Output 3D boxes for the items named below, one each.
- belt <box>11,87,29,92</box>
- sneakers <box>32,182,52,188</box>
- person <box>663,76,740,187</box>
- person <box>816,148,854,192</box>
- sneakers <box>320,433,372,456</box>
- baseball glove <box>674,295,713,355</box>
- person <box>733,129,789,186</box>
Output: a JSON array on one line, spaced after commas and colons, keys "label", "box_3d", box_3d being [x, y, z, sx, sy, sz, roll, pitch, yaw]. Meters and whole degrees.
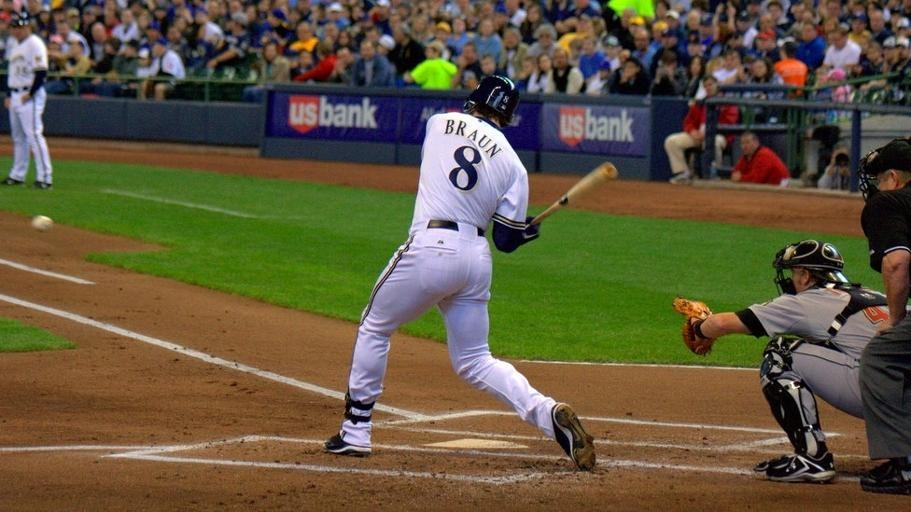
[{"label": "belt", "box_3d": [-8.096, -3.062, 24.077, 0.400, 0.116, 0.112, 4, 7, 24]}, {"label": "sneakers", "box_3d": [-7.746, -1.318, 24.435, 0.352, 0.119, 0.117, 14, 7, -19]}, {"label": "person", "box_3d": [4.856, -2.476, 25.865, 1.404, 2.118, 0.402, 8, 10, 43]}, {"label": "person", "box_3d": [7.221, -1.667, 24.833, 0.575, 0.809, 0.241, 3, 8, 12]}, {"label": "sneakers", "box_3d": [-1.389, 2.393, 16.637, 0.708, 0.259, 0.225, 7, -1, 3]}, {"label": "baseball glove", "box_3d": [3.037, 0.873, 16.652, 0.269, 0.657, 0.566, -4, 7, -8]}, {"label": "person", "box_3d": [5.925, -1.869, 25.249, 1.128, 0.977, 0.341, 3, 8, 16]}]
